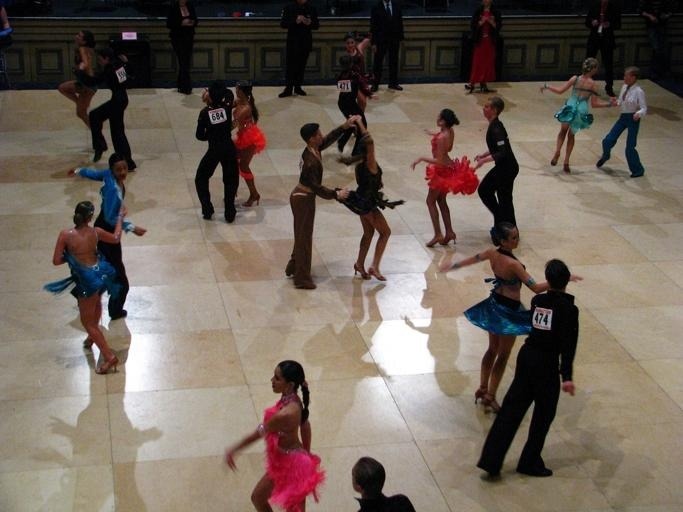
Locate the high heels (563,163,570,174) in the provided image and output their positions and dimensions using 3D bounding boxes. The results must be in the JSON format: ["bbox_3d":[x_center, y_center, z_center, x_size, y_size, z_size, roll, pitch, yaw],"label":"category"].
[{"bbox_3d":[4.252,-1.651,10.111,0.089,0.112,0.275,2,47,9],"label":"high heels"}]

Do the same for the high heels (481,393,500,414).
[{"bbox_3d":[1.408,1.389,5.101,0.273,0.127,0.087,-1,38,-27],"label":"high heels"}]

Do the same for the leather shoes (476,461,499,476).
[{"bbox_3d":[1.199,1.708,4.405,0.160,0.151,0.053,-2,21,30],"label":"leather shoes"}]

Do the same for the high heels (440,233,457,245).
[{"bbox_3d":[1.576,-0.237,7.873,0.230,0.124,0.122,-7,26,14],"label":"high heels"}]

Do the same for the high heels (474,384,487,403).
[{"bbox_3d":[1.336,1.313,5.156,0.087,0.171,0.091,13,10,-22],"label":"high heels"}]

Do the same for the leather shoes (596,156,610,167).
[{"bbox_3d":[5.054,-1.820,10.369,0.077,0.224,0.155,39,5,42],"label":"leather shoes"}]

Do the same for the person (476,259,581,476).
[{"bbox_3d":[1.504,0.934,4.237,0.568,1.778,0.508,7,22,16],"label":"person"}]

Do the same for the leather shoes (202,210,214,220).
[{"bbox_3d":[-2.077,-0.640,8.389,0.140,0.160,0.156,0,-11,-7],"label":"leather shoes"}]

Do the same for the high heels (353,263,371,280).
[{"bbox_3d":[0.274,0.201,7.081,0.113,0.172,0.337,-22,22,-34],"label":"high heels"}]

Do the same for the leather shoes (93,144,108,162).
[{"bbox_3d":[-4.533,-1.959,10.047,0.169,0.203,0.474,6,41,-2],"label":"leather shoes"}]

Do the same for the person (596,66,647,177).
[{"bbox_3d":[5.250,-2.406,9.807,0.834,1.906,0.795,10,23,22],"label":"person"}]

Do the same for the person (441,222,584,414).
[{"bbox_3d":[1.658,0.653,5.347,1.192,1.901,0.965,-19,39,-17],"label":"person"}]

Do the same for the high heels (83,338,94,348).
[{"bbox_3d":[-2.685,0.919,5.708,0.083,0.132,0.128,15,45,-17],"label":"high heels"}]

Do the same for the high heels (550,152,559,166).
[{"bbox_3d":[4.141,-1.861,10.326,0.120,0.221,0.269,13,31,5],"label":"high heels"}]

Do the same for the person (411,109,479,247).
[{"bbox_3d":[1.508,-1.129,7.774,0.849,1.936,1.320,5,21,10],"label":"person"}]

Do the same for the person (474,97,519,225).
[{"bbox_3d":[2.261,-1.282,7.664,0.695,1.866,1.079,6,22,13],"label":"person"}]

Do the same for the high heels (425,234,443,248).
[{"bbox_3d":[1.354,-0.206,7.831,0.133,0.099,0.237,-30,18,-38],"label":"high heels"}]
